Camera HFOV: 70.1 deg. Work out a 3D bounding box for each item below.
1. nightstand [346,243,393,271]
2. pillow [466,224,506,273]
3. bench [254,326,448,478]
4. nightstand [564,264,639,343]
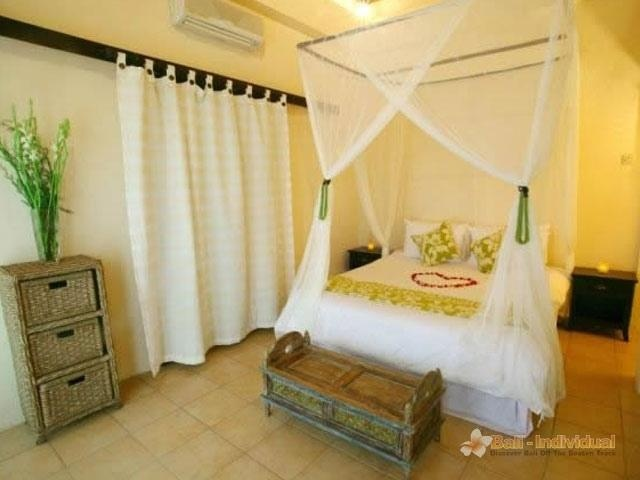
[{"bbox_3d":[0.574,0.199,5.766,0.408,0.409,0.316,5,9,38],"label":"nightstand"},{"bbox_3d":[1.614,0.103,4.456,0.143,0.472,0.483,12,-8,-21],"label":"pillow"},{"bbox_3d":[0.178,1.058,3.128,1.383,0.813,0.740,11,19,34],"label":"bench"},{"bbox_3d":[2.740,0.610,4.407,0.604,0.815,0.431,6,13,38],"label":"nightstand"}]
